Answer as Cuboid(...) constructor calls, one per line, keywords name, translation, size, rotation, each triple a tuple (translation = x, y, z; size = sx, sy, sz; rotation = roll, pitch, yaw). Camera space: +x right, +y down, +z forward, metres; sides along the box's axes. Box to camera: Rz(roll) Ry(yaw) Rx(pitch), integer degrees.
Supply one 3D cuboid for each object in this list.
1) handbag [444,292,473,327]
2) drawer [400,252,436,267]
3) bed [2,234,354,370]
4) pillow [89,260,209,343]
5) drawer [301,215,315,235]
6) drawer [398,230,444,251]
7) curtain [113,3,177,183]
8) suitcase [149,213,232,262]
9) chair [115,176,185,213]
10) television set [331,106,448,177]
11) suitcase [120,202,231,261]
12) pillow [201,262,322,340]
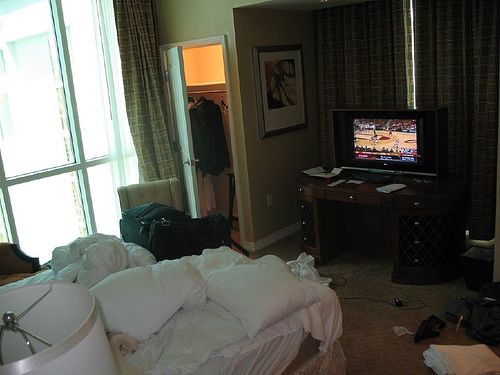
Cuboid(name="handbag", translation=(1.656, 0.967, 3.068), size=(0.188, 0.233, 0.232), rotation=(0, 3, -29))
Cuboid(name="drawer", translation=(1.556, 0.663, 3.583), size=(0.261, 0.150, 0.169), rotation=(0, 8, 17))
Cuboid(name="bed", translation=(-0.220, 0.408, 2.261), size=(1.364, 0.433, 1.342), rotation=(-9, 14, -41))
Cuboid(name="pillow", translation=(-0.568, 0.625, 2.254), size=(0.494, 0.154, 0.424), rotation=(-18, 48, -30))
Cuboid(name="drawer", translation=(0.619, 0.410, 4.169), size=(0.044, 0.181, 0.156), rotation=(-10, 10, -39))
Cuboid(name="drawer", translation=(1.553, 0.484, 3.534), size=(0.251, 0.244, 0.071), rotation=(4, 2, 14))
Cuboid(name="curtain", translation=(-1.206, -1.116, 4.567), size=(0.584, 2.059, 0.336), rotation=(-14, 16, -35))
Cuboid(name="suitcase", translation=(-0.550, 0.453, 3.584), size=(0.591, 0.262, 0.414), rotation=(-2, 4, -44))
Cuboid(name="chair", translation=(-1.125, 0.048, 4.400), size=(0.472, 0.504, 0.479), rotation=(-8, -2, -12))
Cuboid(name="television set", translation=(1.473, -0.514, 4.049), size=(1.085, 0.682, 0.384), rotation=(8, 31, 37))
Cuboid(name="suitcase", translation=(-0.825, 0.277, 3.717), size=(0.535, 0.335, 0.761), rotation=(-9, 18, -36))
Cuboid(name="pillow", translation=(0.000, 0.613, 2.317), size=(0.443, 0.143, 0.458), rotation=(-15, 21, -34))
